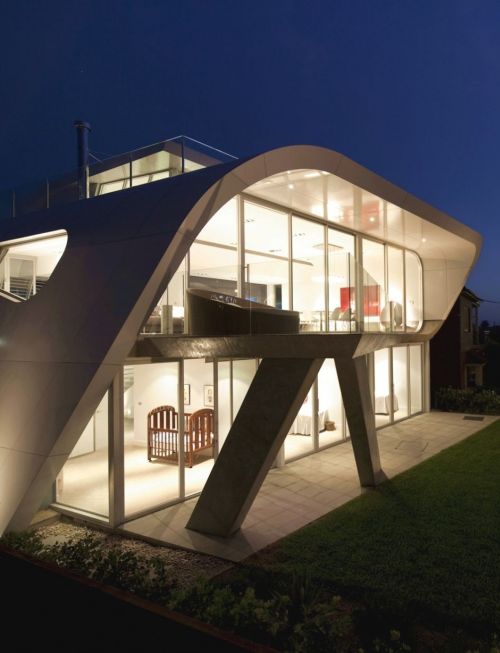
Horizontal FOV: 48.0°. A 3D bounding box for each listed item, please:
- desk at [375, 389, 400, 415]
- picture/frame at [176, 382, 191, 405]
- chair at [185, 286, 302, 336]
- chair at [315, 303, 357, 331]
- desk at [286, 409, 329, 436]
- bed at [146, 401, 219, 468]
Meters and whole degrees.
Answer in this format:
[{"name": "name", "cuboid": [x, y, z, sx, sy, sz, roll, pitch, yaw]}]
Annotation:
[{"name": "desk", "cuboid": [4.235, 2.422, 17.468, 0.593, 0.446, 0.845, 1, 2, 33]}, {"name": "picture/frame", "cuboid": [-1.200, 1.176, 9.992, 0.051, 0.568, 0.440, -3, 6, -38]}, {"name": "chair", "cuboid": [-0.163, -0.138, 7.817, 1.016, 0.486, 0.856, -2, -1, 25]}, {"name": "chair", "cuboid": [1.537, -0.103, 9.949, 0.483, 0.721, 0.507, -3, 11, -36]}, {"name": "desk", "cuboid": [1.520, 2.434, 14.187, 0.543, 0.459, 0.848, -2, -3, 24]}, {"name": "bed", "cuboid": [-1.231, 2.056, 10.525, 1.292, 1.260, 0.995, 0, 0, 34]}]
